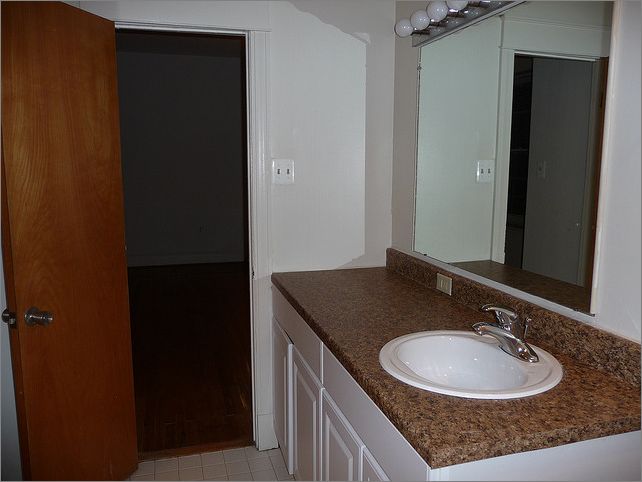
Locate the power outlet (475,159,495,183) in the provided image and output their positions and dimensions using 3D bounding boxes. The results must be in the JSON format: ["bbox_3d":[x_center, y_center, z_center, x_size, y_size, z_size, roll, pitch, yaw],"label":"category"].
[{"bbox_3d":[0.671,-0.287,2.020,0.010,0.083,0.077,0,21,-20],"label":"power outlet"}]

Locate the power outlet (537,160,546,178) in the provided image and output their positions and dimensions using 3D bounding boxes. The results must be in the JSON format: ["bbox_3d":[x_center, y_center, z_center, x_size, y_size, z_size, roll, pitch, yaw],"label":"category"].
[{"bbox_3d":[0.771,-0.254,1.737,0.012,0.084,0.044,-6,13,-18],"label":"power outlet"}]

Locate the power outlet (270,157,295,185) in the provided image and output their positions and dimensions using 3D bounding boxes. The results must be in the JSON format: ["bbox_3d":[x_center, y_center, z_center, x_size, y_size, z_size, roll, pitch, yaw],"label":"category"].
[{"bbox_3d":[-0.211,-0.371,2.581,0.118,0.140,0.021,-1,13,-11],"label":"power outlet"}]

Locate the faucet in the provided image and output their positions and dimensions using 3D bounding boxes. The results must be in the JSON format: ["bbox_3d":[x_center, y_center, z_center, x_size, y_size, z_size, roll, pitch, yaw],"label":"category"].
[{"bbox_3d":[0.617,0.271,1.575,0.242,0.152,0.097,15,31,30],"label":"faucet"}]
